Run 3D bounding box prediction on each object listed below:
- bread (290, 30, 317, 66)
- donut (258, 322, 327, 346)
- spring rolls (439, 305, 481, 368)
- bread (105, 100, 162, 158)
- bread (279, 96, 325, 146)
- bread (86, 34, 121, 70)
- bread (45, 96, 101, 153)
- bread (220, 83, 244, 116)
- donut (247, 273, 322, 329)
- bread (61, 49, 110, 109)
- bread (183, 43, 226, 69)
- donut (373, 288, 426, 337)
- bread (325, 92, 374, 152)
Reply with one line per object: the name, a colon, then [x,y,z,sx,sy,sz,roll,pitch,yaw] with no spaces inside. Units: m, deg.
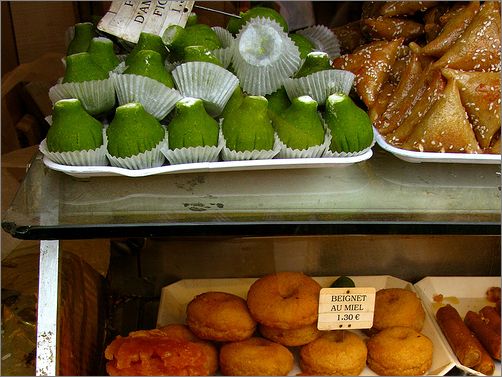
bread: [0.154,-0.400,1.399,0.064,0.123,0.059,-13,30,-24]
donut: [0.102,0.392,1.238,0.079,0.032,0.087,1,-1,10]
spring rolls: [0.563,0.405,1.276,0.047,0.053,0.164,-11,19,2]
bread: [-0.284,-0.129,1.165,0.122,0.122,0.121,-28,19,-33]
bread: [0.124,-0.162,1.146,0.120,0.107,0.095,4,25,4]
bread: [-0.407,-0.374,1.298,0.068,0.115,0.086,-12,27,-24]
bread: [-0.420,-0.145,1.104,0.132,0.112,0.096,-7,26,-18]
bread: [-0.043,-0.236,1.277,0.042,0.055,0.074,35,66,-5]
donut: [0.089,0.295,1.238,0.182,0.144,0.169,-11,19,-31]
bread: [-0.421,-0.300,1.209,0.087,0.157,0.109,-11,32,-20]
bread: [-0.138,-0.354,1.230,0.067,0.079,0.074,-1,23,-2]
donut: [0.411,0.319,1.316,0.109,0.068,0.124,-7,32,8]
bread: [0.239,-0.159,1.156,0.116,0.119,0.088,6,25,8]
